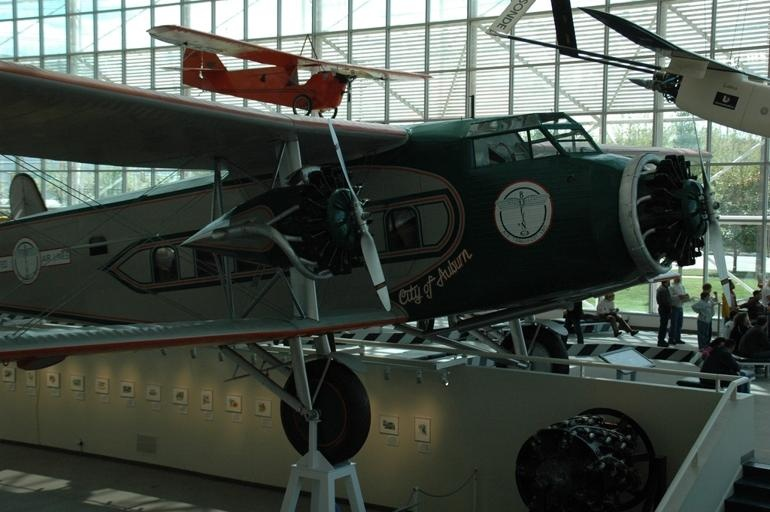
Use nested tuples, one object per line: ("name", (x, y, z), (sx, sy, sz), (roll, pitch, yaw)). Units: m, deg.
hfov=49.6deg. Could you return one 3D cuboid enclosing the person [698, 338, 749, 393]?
("person", (6.351, 2.176, 15.671), (0.855, 1.198, 0.577), (-4, 2, -22))
